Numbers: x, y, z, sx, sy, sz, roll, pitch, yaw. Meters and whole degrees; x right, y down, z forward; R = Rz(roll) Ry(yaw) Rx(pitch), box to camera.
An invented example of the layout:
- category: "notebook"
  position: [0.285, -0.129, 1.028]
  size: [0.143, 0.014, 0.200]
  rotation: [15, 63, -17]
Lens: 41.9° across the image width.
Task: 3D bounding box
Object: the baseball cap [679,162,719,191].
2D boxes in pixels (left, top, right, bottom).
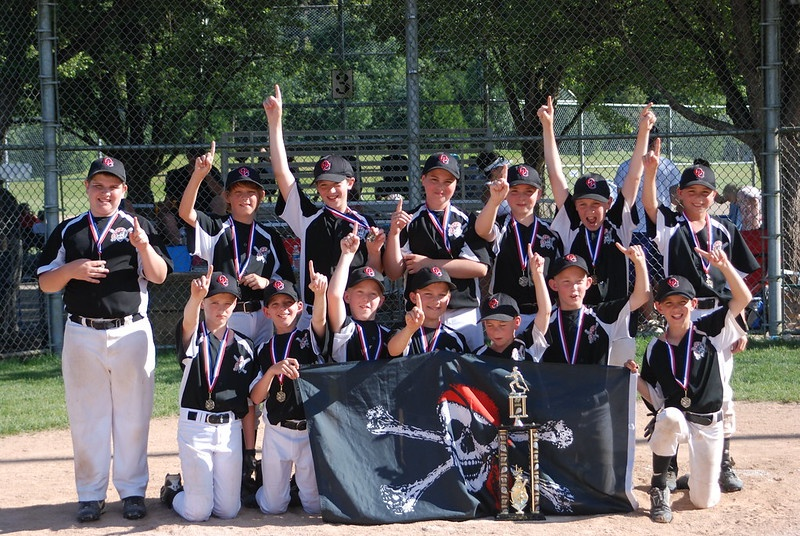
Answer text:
- category: "baseball cap"
  position: [3.054, -0.908, 10.535]
  size: [0.534, 0.267, 0.316]
  rotation: [-5, 4, -44]

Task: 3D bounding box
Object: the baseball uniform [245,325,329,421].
- category: "baseball uniform"
  position: [-1.019, 1.065, 10.110]
  size: [0.811, 0.848, 0.294]
  rotation: [-3, -21, 43]

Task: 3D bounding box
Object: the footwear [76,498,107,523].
- category: "footwear"
  position: [-2.927, 2.289, 9.812]
  size: [0.260, 0.181, 0.173]
  rotation: [-4, 3, -22]

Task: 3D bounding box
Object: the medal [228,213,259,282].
- category: "medal"
  position: [-1.580, -0.177, 10.380]
  size: [0.334, 0.631, 0.125]
  rotation: [2, -12, -10]

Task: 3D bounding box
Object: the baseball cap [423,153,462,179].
- category: "baseball cap"
  position: [0.432, -1.021, 10.553]
  size: [0.396, 0.266, 0.277]
  rotation: [-3, 3, -12]

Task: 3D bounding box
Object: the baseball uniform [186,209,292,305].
- category: "baseball uniform"
  position: [-1.618, -0.099, 10.390]
  size: [1.092, 0.895, 0.455]
  rotation: [-4, -9, -28]

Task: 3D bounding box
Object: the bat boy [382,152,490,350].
- category: "bat boy"
  position: [0.380, 0.179, 10.699]
  size: [1.094, 2.697, 0.845]
  rotation: [-3, 11, 0]

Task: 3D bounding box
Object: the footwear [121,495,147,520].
- category: "footwear"
  position: [-2.523, 2.261, 9.866]
  size: [0.217, 0.202, 0.214]
  rotation: [-3, 3, -15]

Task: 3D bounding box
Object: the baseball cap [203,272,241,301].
- category: "baseball cap"
  position: [-1.714, 0.161, 10.015]
  size: [0.219, 0.265, 0.328]
  rotation: [5, 6, -11]

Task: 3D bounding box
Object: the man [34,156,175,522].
- category: "man"
  position: [-2.836, 0.673, 9.854]
  size: [0.930, 3.398, 0.442]
  rotation: [-3, 3, -15]

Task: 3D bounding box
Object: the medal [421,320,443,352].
- category: "medal"
  position: [0.319, 0.676, 10.096]
  size: [0.140, 0.255, 0.059]
  rotation: [19, -22, -3]

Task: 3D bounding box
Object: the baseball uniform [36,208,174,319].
- category: "baseball uniform"
  position: [-3.010, -0.004, 10.561]
  size: [1.387, 1.162, 0.629]
  rotation: [2, -7, -8]

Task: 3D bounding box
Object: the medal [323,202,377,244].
- category: "medal"
  position: [-0.509, -0.497, 10.552]
  size: [0.472, 0.128, 0.284]
  rotation: [32, 16, -3]

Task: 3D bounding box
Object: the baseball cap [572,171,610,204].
- category: "baseball cap"
  position: [1.947, -0.804, 10.551]
  size: [0.399, 0.297, 0.297]
  rotation: [-3, 3, -2]

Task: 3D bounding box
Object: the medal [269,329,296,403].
- category: "medal"
  position: [-1.135, 0.946, 10.015]
  size: [0.207, 0.661, 0.056]
  rotation: [-6, -33, 16]

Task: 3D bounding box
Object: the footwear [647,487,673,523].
- category: "footwear"
  position: [2.457, 2.221, 9.797]
  size: [0.209, 0.269, 0.333]
  rotation: [-2, 3, 13]
